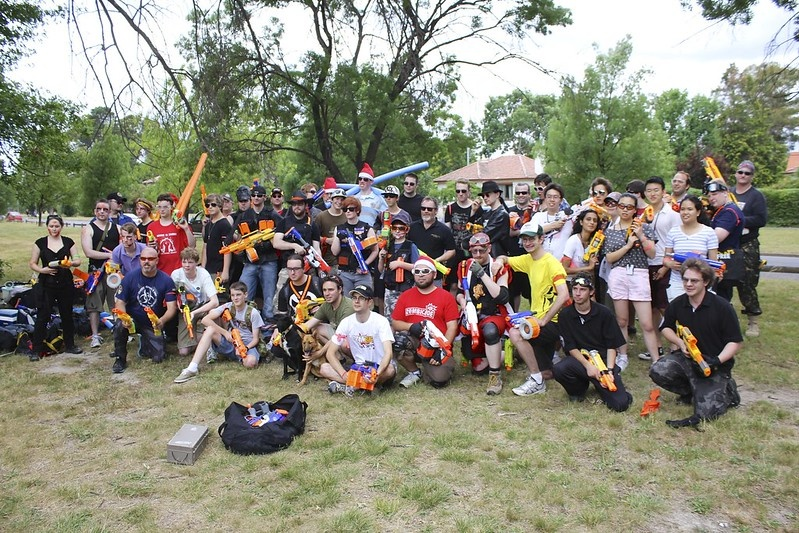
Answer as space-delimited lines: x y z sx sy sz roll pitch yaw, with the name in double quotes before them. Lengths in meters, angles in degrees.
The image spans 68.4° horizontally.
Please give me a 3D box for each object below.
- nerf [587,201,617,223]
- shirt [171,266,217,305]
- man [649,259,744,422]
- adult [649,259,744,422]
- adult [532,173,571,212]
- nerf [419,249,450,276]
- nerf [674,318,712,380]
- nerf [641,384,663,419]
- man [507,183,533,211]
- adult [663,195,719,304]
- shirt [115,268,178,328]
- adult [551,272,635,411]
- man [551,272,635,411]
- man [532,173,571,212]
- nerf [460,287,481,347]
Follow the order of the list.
"nerf" 3.505 -0.945 10.347 0.455 0.356 0.139 32 -34 1
"shirt" -3.830 0.364 11.040 0.975 0.681 0.262 -1 5 13
"man" 4.305 1.200 8.631 1.388 2.328 1.523 -8 10 -3
"adult" 4.359 1.151 8.646 1.334 2.399 1.440 -9 9 -15
"adult" 2.820 -1.424 11.404 0.737 0.773 0.353 0 6 30
"nerf" 0.590 -0.092 10.336 0.699 0.135 0.153 32 -2 21
"nerf" 4.380 1.244 8.729 0.173 0.609 1.116 -22 26 17
"nerf" 3.737 2.001 8.745 0.196 0.152 0.628 -4 20 35
"man" 2.474 -1.482 11.878 0.589 0.794 0.530 0 -2 15
"adult" 4.800 0.168 9.780 0.835 2.538 0.827 5 19 38
"shirt" -4.612 0.565 10.814 1.006 1.064 0.285 -2 5 -8
"adult" 2.918 1.175 8.896 1.173 1.981 1.357 -11 9 -18
"man" 2.923 1.191 8.898 1.186 1.973 1.449 -10 9 -14
"man" 2.816 -1.463 11.396 0.737 0.773 0.353 0 6 30
"nerf" 1.144 0.865 9.772 0.206 0.876 0.307 0 -17 -10
